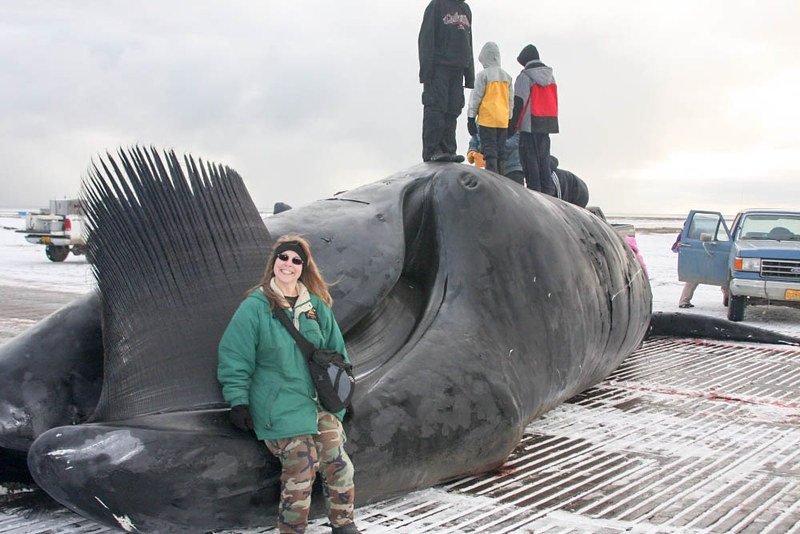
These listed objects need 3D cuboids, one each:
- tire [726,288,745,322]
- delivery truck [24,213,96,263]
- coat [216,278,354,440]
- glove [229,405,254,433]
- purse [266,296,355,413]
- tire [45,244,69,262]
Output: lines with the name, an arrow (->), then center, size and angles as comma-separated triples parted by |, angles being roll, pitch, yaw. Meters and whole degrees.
tire -> 5.978, 0.681, 11.833 | 0.188, 0.555, 0.538 | 4, 6, 10
delivery truck -> -13.426, -1.393, 25.566 | 1.711, 1.717, 3.498 | 2, 2, -17
coat -> -0.746, 0.608, 4.139 | 0.886, 0.966, 0.502 | -6, -4, -32
glove -> -0.970, 0.925, 4.033 | 0.116, 0.163, 0.065 | -25, 8, 6
purse -> -0.592, 0.562, 4.144 | 0.456, 0.921, 0.234 | -9, 33, 3
tire -> -12.687, -0.521, 24.429 | 0.228, 0.607, 0.588 | 4, 9, 34
